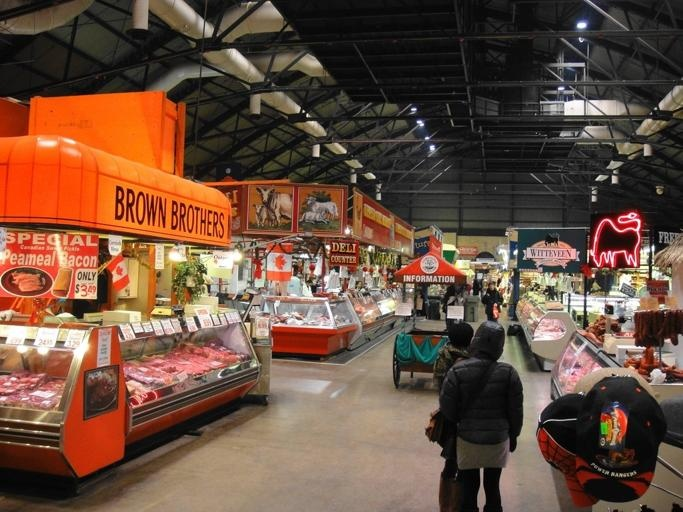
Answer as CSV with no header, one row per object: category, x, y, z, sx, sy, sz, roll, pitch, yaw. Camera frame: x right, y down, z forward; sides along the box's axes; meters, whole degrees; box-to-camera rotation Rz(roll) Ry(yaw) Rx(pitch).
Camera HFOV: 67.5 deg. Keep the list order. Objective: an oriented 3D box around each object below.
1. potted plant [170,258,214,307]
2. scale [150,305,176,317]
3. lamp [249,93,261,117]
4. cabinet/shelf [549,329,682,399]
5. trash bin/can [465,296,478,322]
potted plant,-2.573,0.428,8.792,0.539,0.807,0.994,3,0,-17
scale,-2.502,0.795,7.283,0.292,0.141,0.382,2,0,-24
lamp,-2.523,-4.543,15.223,0.279,0.628,0.643,3,0,-15
cabinet/shelf,2.766,1.047,5.126,0.526,0.752,1.530,3,2,11
trash bin/can,5.094,2.042,20.152,0.497,1.018,1.239,3,0,19
